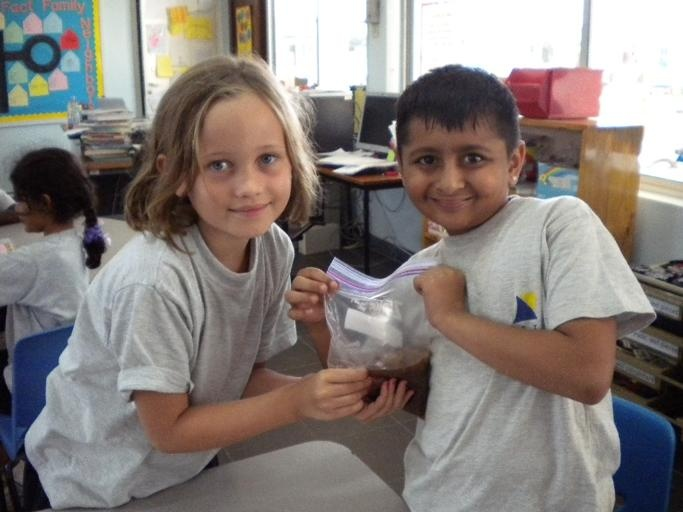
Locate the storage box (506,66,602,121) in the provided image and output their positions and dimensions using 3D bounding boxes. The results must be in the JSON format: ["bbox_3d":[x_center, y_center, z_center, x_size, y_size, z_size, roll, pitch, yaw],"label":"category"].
[{"bbox_3d":[1.039,-0.817,2.849,0.434,0.222,0.419,-2,27,-20],"label":"storage box"}]
